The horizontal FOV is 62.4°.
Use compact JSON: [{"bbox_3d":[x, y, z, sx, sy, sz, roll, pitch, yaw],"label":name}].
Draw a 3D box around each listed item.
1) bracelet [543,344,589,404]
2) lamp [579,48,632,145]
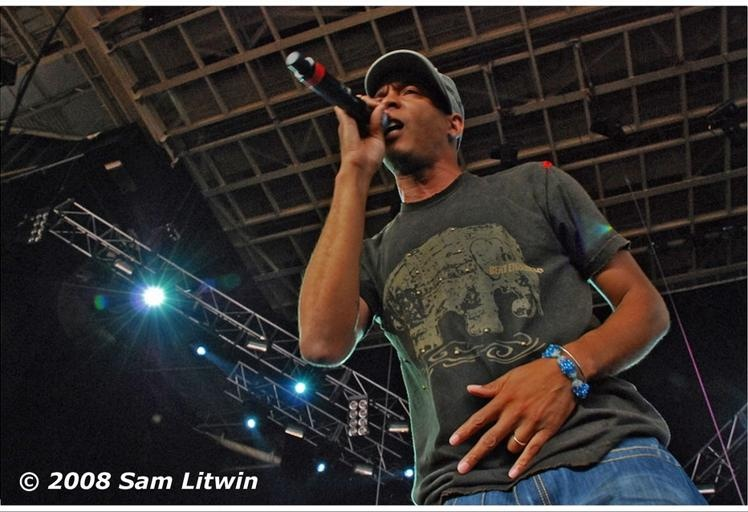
[{"bbox_3d":[1.127,0.656,3.590,0.123,0.303,0.243,-30,-18,-16],"label":"bracelet"},{"bbox_3d":[2.822,-1.818,7.814,0.351,0.251,1.108,-21,-31,19],"label":"lamp"}]
